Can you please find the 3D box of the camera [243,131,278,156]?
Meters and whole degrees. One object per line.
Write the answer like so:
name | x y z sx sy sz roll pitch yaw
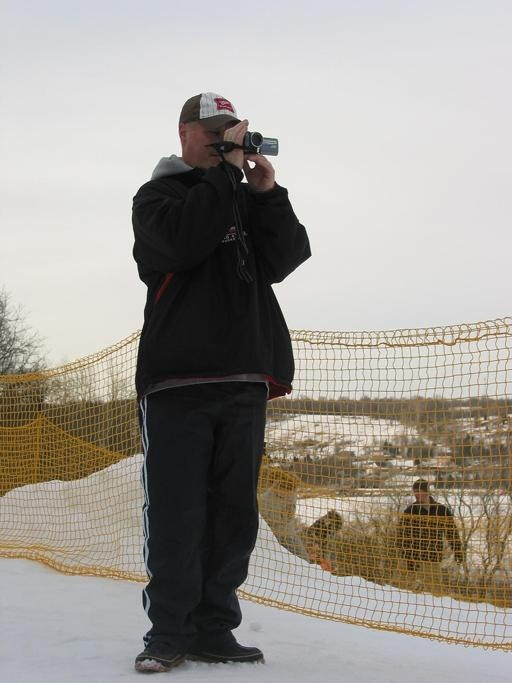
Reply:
camera | 0.043 -1.068 5.319 0.082 0.108 0.298 5 0 30

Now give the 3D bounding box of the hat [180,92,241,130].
hat | -0.252 -1.242 5.348 0.291 0.137 0.209 4 9 39

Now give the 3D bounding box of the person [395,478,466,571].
person | 1.432 1.526 8.044 0.536 0.826 2.181 2 -2 11

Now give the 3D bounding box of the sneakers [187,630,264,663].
sneakers | -0.176 1.630 5.243 0.444 0.163 0.146 1 -8 -11

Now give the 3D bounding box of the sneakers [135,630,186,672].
sneakers | -0.490 1.581 4.942 0.124 0.134 0.311 -14 -30 13

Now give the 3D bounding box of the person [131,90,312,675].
person | -0.246 0.172 5.216 0.901 3.063 0.496 2 -2 -7
